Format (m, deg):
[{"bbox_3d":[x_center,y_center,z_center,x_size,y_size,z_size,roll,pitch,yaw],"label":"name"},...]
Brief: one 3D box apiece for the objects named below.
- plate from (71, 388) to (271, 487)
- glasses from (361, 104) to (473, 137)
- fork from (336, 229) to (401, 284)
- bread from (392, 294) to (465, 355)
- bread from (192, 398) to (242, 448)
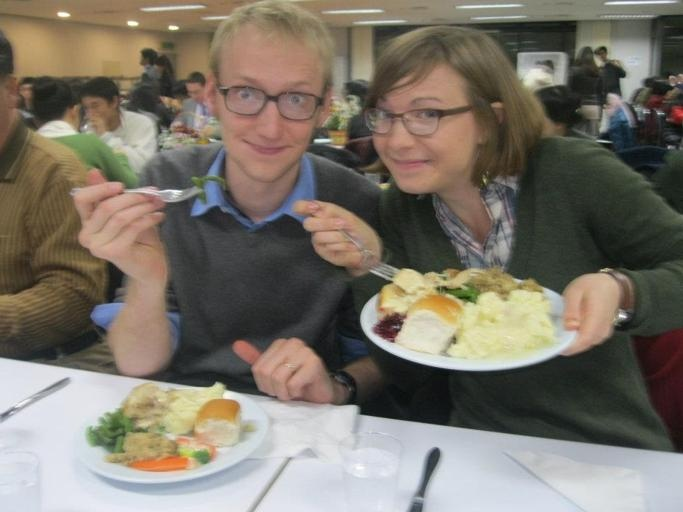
[{"bbox_3d":[-0.360,0.391,1.282,0.399,0.061,0.237,-9,21,-18],"label":"plate"},{"bbox_3d":[0.216,-0.390,1.701,0.315,0.080,0.091,2,22,10],"label":"glasses"},{"bbox_3d":[0.027,-0.029,1.724,0.057,0.055,0.406,36,1,-39],"label":"fork"},{"bbox_3d":[0.206,0.148,1.392,0.147,0.042,0.177,6,41,11],"label":"bread"},{"bbox_3d":[-0.272,0.378,1.315,0.107,0.059,0.104,5,-1,8],"label":"bread"}]
